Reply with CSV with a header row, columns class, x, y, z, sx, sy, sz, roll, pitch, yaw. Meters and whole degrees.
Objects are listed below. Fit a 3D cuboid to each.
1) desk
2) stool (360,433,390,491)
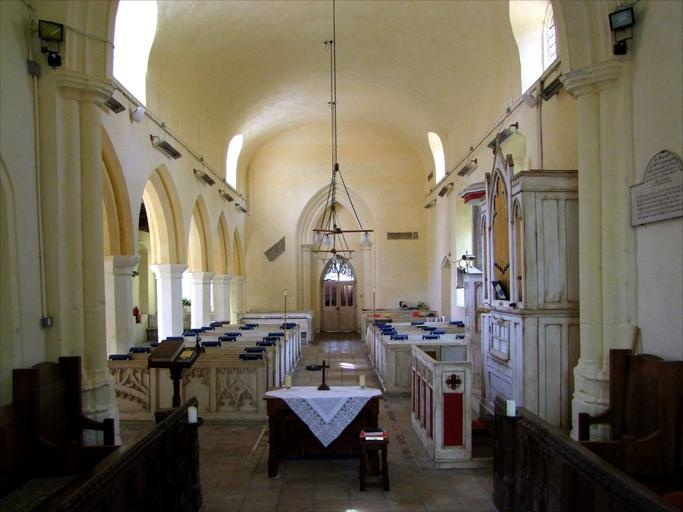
class,x,y,z,sx,sy,sz,roll,pitch,yaw
desk,-0.231,2.361,7.809,1.447,1.114,0.948,1,-8,-4
stool,0.377,2.444,7.371,0.437,0.725,0.574,-1,-10,0
